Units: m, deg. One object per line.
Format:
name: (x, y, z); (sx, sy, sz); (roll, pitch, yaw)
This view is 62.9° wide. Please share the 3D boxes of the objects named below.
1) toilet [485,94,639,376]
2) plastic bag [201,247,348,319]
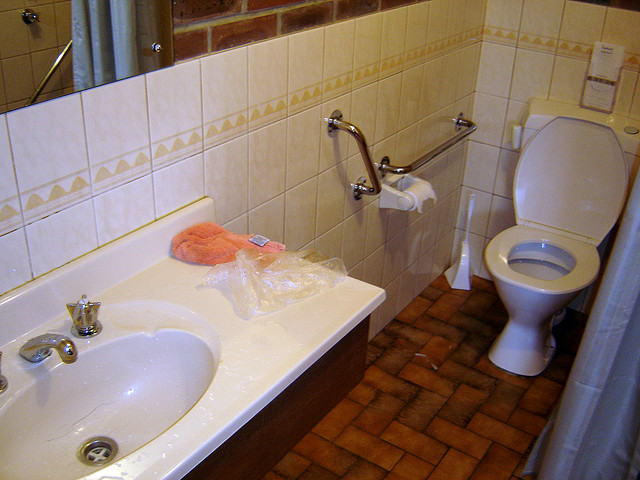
toilet: (1.110, -0.017, 2.493); (0.505, 1.036, 0.881); (16, 39, 25)
plastic bag: (-0.100, 0.093, 1.385); (0.273, 0.084, 0.207); (-22, 33, -36)
